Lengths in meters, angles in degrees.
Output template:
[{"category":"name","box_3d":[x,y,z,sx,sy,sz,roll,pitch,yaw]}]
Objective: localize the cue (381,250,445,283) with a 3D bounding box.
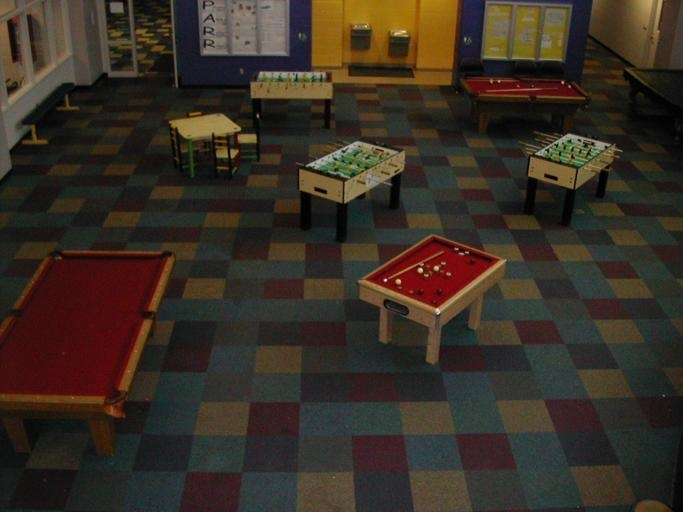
[{"category":"cue","box_3d":[0.926,0.147,6.650,0.850,0.085,0.099,-25,41,-31]}]

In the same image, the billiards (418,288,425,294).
[{"category":"billiards","box_3d":[0.943,0.408,6.209,0.042,0.046,0.026,9,27,4]}]

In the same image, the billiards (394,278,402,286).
[{"category":"billiards","box_3d":[0.681,0.318,6.364,0.077,0.069,0.047,0,-5,-21]}]

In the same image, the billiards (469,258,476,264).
[{"category":"billiards","box_3d":[1.670,0.069,6.731,0.060,0.030,0.056,0,30,3]}]

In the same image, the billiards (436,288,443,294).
[{"category":"billiards","box_3d":[1.140,0.414,6.176,0.056,0.034,0.051,-3,39,-9]}]

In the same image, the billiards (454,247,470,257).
[{"category":"billiards","box_3d":[1.574,-0.057,6.930,0.129,0.043,0.116,3,32,9]}]

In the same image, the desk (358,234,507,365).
[{"category":"desk","box_3d":[1.177,0.544,6.806,1.190,0.938,1.706,20,34,35]}]

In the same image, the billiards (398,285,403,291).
[{"category":"billiards","box_3d":[0.698,0.382,6.286,0.072,0.035,0.114,2,28,1]}]

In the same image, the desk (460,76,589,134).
[{"category":"desk","box_3d":[4.202,-3.480,12.318,2.611,1.028,1.345,2,29,1]}]
